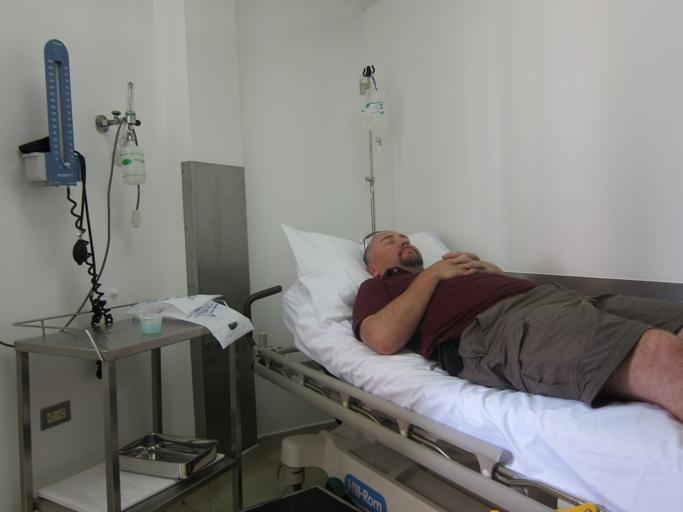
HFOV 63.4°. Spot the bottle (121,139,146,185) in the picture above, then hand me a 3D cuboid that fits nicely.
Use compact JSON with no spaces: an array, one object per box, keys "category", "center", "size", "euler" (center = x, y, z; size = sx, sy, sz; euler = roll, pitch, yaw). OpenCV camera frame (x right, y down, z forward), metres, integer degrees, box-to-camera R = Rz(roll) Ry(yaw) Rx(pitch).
[{"category":"bottle","center":[-0.861,-0.373,2.255],"size":[0.093,0.151,0.058],"euler":[-7,11,-13]}]

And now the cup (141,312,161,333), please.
[{"category":"cup","center":[-0.708,0.249,2.055],"size":[0.070,0.050,0.068],"euler":[2,2,0]}]

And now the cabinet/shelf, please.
[{"category":"cabinet/shelf","center":[-0.799,0.639,2.157],"size":[0.678,0.901,0.697],"euler":[0,11,19]}]
